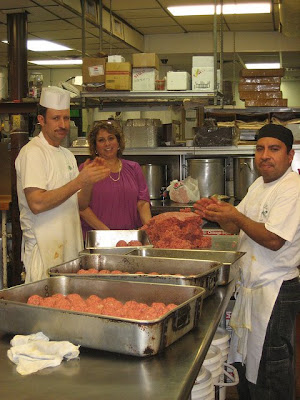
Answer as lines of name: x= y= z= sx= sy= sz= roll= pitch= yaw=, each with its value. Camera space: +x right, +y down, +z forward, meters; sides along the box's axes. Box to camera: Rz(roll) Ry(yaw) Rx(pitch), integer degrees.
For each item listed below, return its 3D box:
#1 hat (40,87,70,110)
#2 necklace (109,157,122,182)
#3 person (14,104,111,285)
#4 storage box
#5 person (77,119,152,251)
hat: x=-0.549 y=-0.563 z=2.192 sx=0.167 sy=0.097 sz=0.168 roll=7 pitch=11 yaw=-37
necklace: x=-0.253 y=-0.210 z=2.694 sx=0.102 sy=0.174 sz=0.031 roll=2 pitch=-15 yaw=-19
person: x=-0.517 y=0.126 z=2.202 sx=0.502 sy=1.194 sz=0.462 roll=10 pitch=19 yaw=13
storage box: x=-0.013 y=-1.043 z=3.172 sx=1.141 sy=0.313 sz=0.270 roll=3 pitch=7 yaw=7
person: x=-0.274 y=-0.131 z=2.756 sx=0.512 sy=0.852 sz=0.453 roll=-2 pitch=13 yaw=-20
